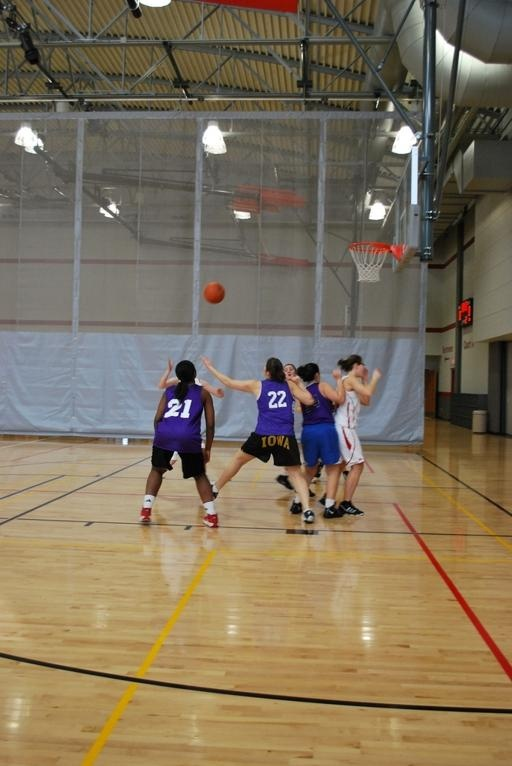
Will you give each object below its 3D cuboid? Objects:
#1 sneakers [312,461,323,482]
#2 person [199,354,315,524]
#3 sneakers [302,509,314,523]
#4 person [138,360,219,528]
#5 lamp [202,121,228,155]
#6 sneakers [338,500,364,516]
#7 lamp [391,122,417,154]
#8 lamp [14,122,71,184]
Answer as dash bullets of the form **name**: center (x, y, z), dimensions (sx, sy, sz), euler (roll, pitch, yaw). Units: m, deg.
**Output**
- **sneakers**: center (0.586, 0.832, 5.850), dimensions (0.141, 0.163, 0.418), euler (-1, -15, 6)
- **person**: center (0.005, 0.561, 5.937), dimensions (1.183, 1.757, 1.100), euler (-4, 22, -12)
- **sneakers**: center (0.380, 0.954, 4.428), dimensions (0.047, 0.055, 0.128), euler (1, 1, 2)
- **person**: center (-0.543, 0.434, 4.557), dimensions (0.557, 1.195, 0.884), euler (1, 3, -7)
- **lamp**: center (-0.695, -4.143, 10.508), dimensions (0.493, 0.509, 0.483), euler (-3, 22, -6)
- **sneakers**: center (0.730, 0.989, 4.932), dimensions (0.234, 0.113, 0.077), euler (3, -1, 10)
- **lamp**: center (2.366, -3.948, 9.961), dimensions (0.216, 0.514, 0.568), euler (1, 3, -9)
- **lamp**: center (-3.652, -3.998, 10.826), dimensions (1.222, 0.334, 0.333), euler (42, 13, -5)
